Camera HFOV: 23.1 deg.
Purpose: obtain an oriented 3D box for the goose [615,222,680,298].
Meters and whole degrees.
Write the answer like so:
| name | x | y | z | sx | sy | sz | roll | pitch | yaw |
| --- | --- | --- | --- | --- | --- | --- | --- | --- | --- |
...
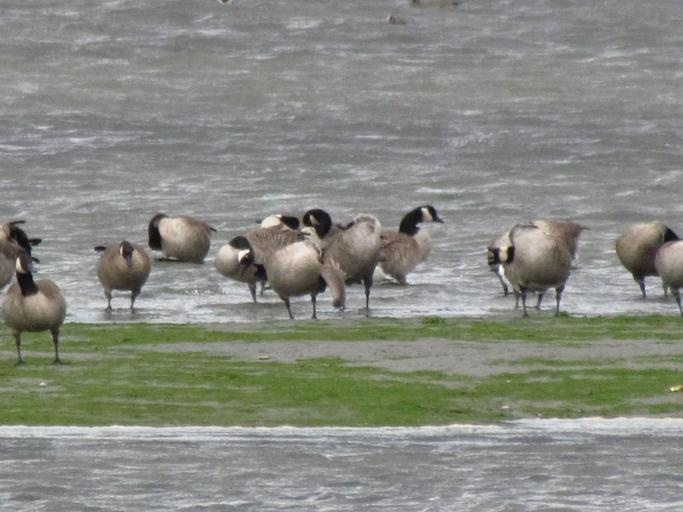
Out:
| name | x | y | z | sx | sy | sz | roll | pitch | yaw |
| --- | --- | --- | --- | --- | --- | --- | --- | --- | --- |
| goose | 10.103 | -0.147 | 56.430 | 1.798 | 1.858 | 3.095 | -8 | -2 | -11 |

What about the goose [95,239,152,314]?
| name | x | y | z | sx | sy | sz | roll | pitch | yaw |
| --- | --- | --- | --- | --- | --- | --- | --- | --- | --- |
| goose | -7.006 | 0.661 | 53.600 | 1.911 | 2.185 | 1.831 | -6 | 14 | -20 |
